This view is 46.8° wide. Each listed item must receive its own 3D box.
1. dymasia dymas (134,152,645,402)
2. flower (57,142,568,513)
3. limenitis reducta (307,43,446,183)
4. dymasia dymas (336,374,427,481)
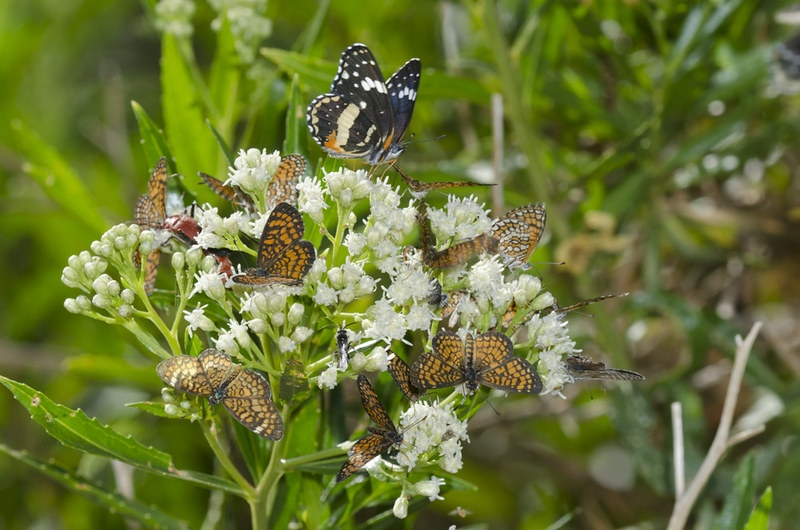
[{"bbox_3d":[-0.231,-0.104,3.351,1.479,0.458,0.528,7,77,-1],"label":"dymasia dymas"},{"bbox_3d":[-0.182,0.187,3.820,1.543,0.806,1.548,41,102,6],"label":"flower"},{"bbox_3d":[-0.128,-0.561,3.409,0.334,0.452,0.461,-13,102,-42],"label":"limenitis reducta"},{"bbox_3d":[-0.110,0.644,3.346,0.273,0.436,0.351,30,78,5],"label":"dymasia dymas"}]
